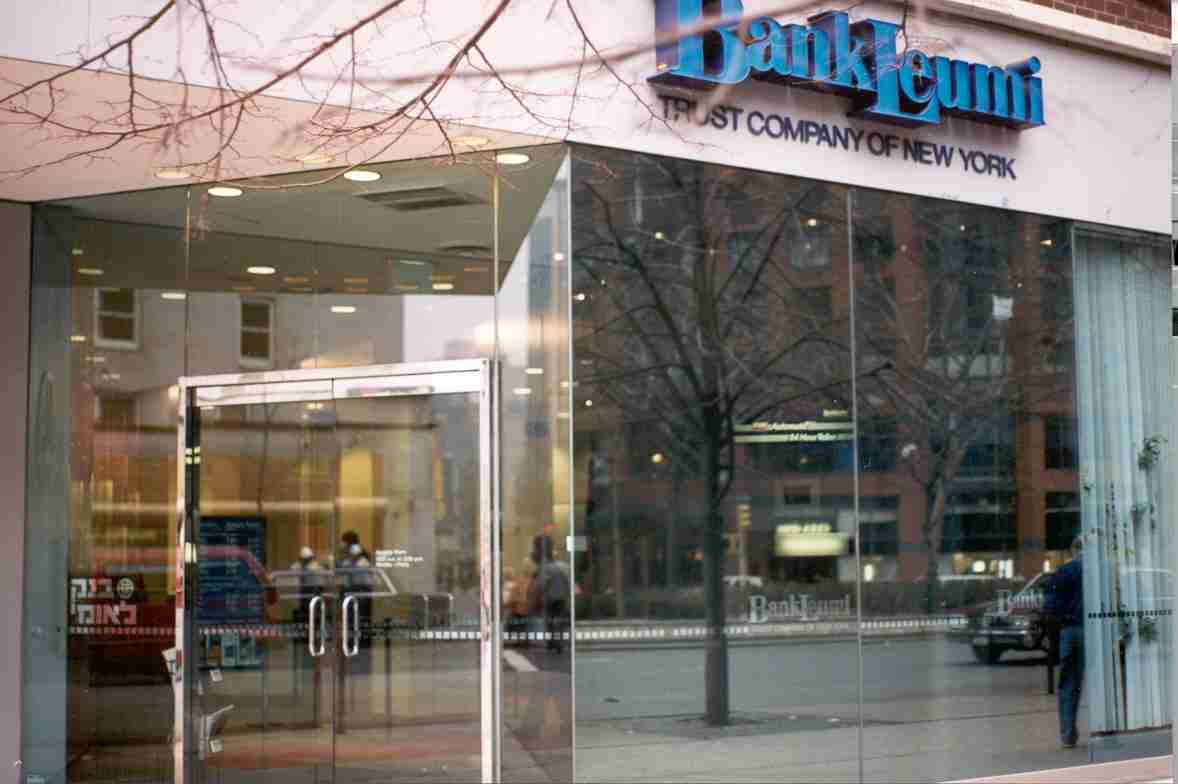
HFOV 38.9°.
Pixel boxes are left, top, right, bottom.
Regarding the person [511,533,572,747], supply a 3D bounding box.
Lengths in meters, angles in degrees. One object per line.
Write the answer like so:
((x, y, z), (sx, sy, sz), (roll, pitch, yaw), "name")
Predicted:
((-0.412, 2.351, 15.190), (0.523, 1.736, 0.186), (-2, -6, -2), "person")

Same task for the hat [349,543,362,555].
((-2.170, 1.465, 15.499), (0.094, 0.040, 0.094), (2, 10, 17), "hat")

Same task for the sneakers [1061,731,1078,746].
((4.704, 3.403, 16.384), (0.131, 0.123, 0.129), (4, -5, -34), "sneakers")

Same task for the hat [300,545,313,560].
((-2.639, 1.504, 15.506), (0.120, 0.119, 0.041), (2, -6, 4), "hat")
